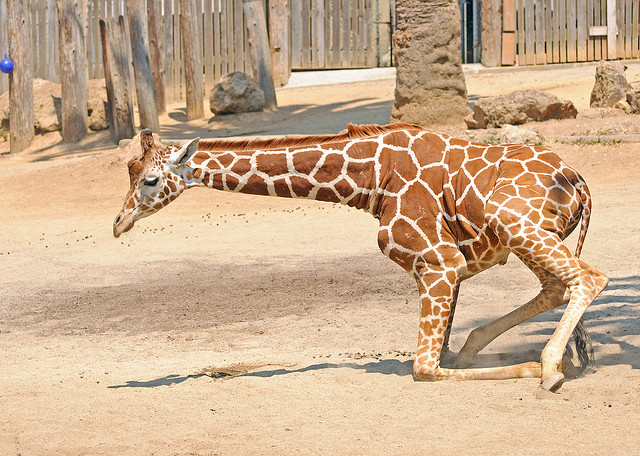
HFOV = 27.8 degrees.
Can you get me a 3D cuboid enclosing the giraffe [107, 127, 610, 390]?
[{"bbox_3d":[1.574,0.656,19.068,8.403,5.066,2.739,-1,-14,4],"label":"giraffe"}]
